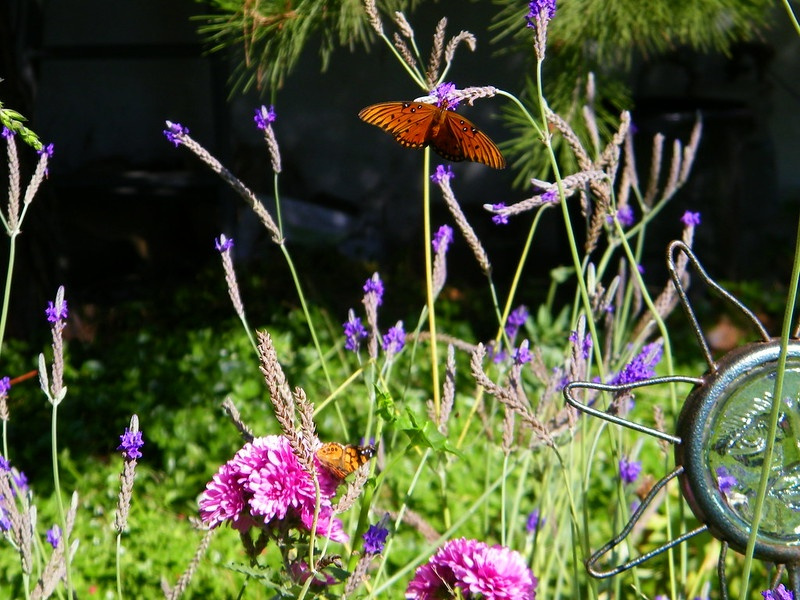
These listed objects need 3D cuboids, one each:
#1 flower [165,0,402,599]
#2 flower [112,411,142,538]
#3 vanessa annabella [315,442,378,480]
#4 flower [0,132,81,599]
[{"bbox_3d":[-0.370,-0.013,5.085,0.777,2.098,0.583,-1,7,-12],"label":"flower"},{"bbox_3d":[-0.961,0.610,5.098,0.099,0.459,0.240,-1,8,-12],"label":"flower"},{"bbox_3d":[-0.180,0.539,4.962,0.123,0.096,0.138,-15,5,33],"label":"vanessa annabella"},{"bbox_3d":[-1.358,0.211,5.400,0.269,1.730,0.999,-1,8,-14],"label":"flower"}]
